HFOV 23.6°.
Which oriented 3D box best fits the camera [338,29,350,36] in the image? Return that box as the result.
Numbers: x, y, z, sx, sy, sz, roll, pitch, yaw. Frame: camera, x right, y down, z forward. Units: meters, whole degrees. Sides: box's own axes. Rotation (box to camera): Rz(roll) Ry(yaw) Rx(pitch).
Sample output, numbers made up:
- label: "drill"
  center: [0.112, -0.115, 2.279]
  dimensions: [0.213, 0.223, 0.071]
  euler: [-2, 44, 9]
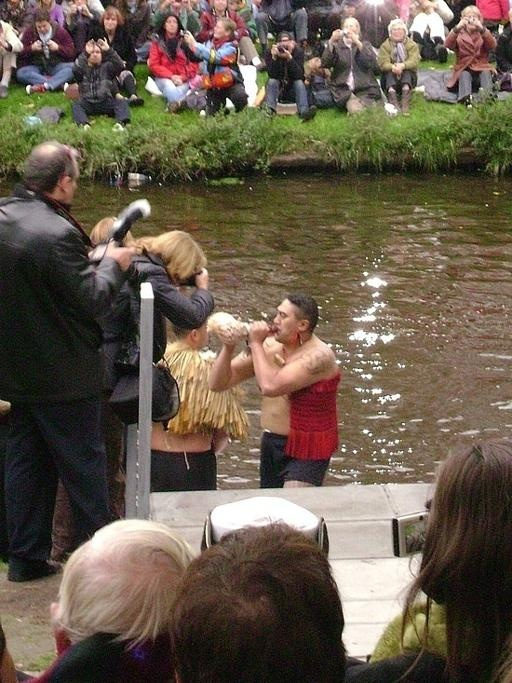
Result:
- label: "camera"
  center: [1.235, -4.292, 17.077]
  dimensions: [0.125, 0.055, 0.167]
  euler: [1, 8, -3]

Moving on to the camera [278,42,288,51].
- label: "camera"
  center: [0.375, -3.959, 16.560]
  dimensions: [0.133, 0.160, 0.289]
  euler: [-1, 8, 2]

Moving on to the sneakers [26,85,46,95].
- label: "sneakers"
  center: [-3.111, -3.543, 17.317]
  dimensions: [0.325, 0.139, 0.112]
  euler: [-2, 39, -16]

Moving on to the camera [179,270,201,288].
- label: "camera"
  center: [-0.285, -0.268, 5.277]
  dimensions: [0.065, 0.081, 0.075]
  euler: [-7, 36, -19]

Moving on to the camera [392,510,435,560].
- label: "camera"
  center: [0.417, 0.505, 3.204]
  dimensions: [0.037, 0.109, 0.175]
  euler: [-11, -7, 36]

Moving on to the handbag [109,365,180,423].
- label: "handbag"
  center: [-0.406, 0.219, 4.696]
  dimensions: [0.246, 0.217, 0.228]
  euler: [-9, 1, 25]
